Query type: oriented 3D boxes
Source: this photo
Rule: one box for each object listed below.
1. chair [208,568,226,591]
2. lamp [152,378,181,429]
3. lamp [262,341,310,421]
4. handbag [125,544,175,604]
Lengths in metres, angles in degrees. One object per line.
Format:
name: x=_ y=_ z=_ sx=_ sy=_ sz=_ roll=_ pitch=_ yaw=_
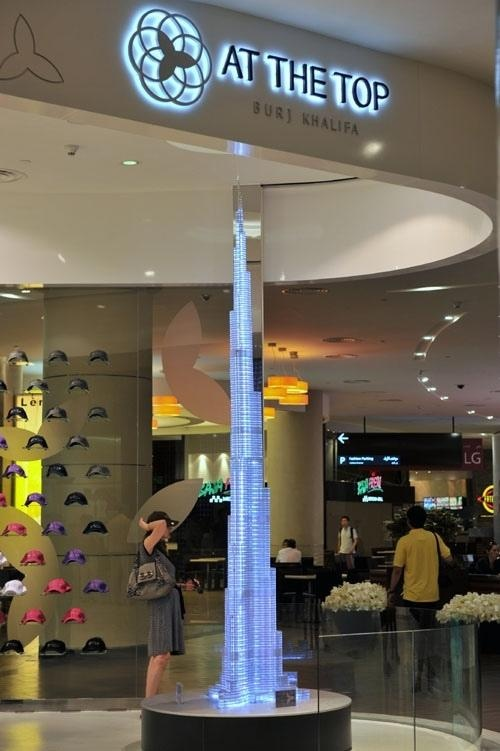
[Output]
chair: x=-0.268 y=1.688 z=6.012 sx=0.145 sy=0.140 sz=0.140 roll=5 pitch=-14 yaw=-22
lamp: x=-0.781 y=0.256 z=6.556 sx=0.375 sy=0.386 sz=0.408 roll=5 pitch=-16 yaw=-24
lamp: x=0.584 y=0.023 z=13.459 sx=1.035 sy=0.875 sz=1.464 roll=-1 pitch=-17 yaw=10
handbag: x=-0.695 y=1.419 z=5.072 sx=0.327 sy=0.420 sz=0.343 roll=-9 pitch=11 yaw=-8
